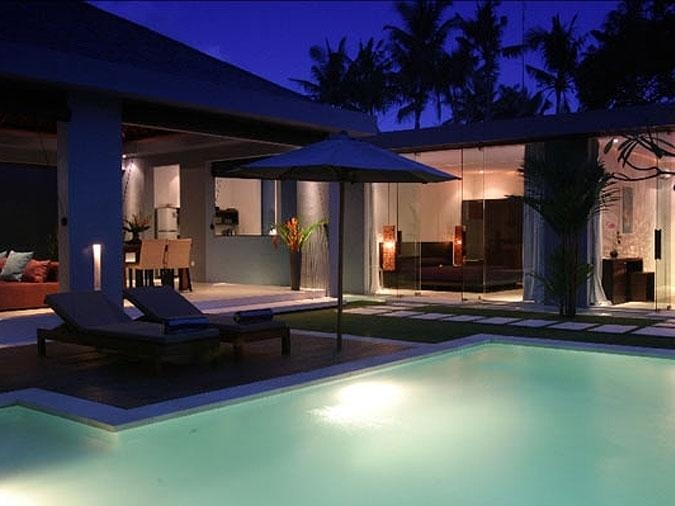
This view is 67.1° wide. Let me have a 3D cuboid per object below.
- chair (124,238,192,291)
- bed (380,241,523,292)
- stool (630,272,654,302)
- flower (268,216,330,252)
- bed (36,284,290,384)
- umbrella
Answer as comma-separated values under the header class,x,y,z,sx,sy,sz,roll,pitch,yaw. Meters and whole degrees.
class,x,y,z,sx,sy,sz,roll,pitch,yaw
chair,-3.928,0.250,11.177,1.277,1.119,2.201,-1,2,-31
bed,2.718,0.468,11.880,1.910,0.765,1.865,-1,0,36
stool,5.890,0.663,9.774,0.230,0.610,0.676,1,2,6
flower,-1.016,-0.457,11.953,0.972,0.527,0.943,1,-4,-27
bed,-1.997,0.749,5.262,1.484,0.546,1.360,-3,-3,38
umbrella,-0.036,-0.132,5.977,2.067,2.430,1.997,3,3,41
